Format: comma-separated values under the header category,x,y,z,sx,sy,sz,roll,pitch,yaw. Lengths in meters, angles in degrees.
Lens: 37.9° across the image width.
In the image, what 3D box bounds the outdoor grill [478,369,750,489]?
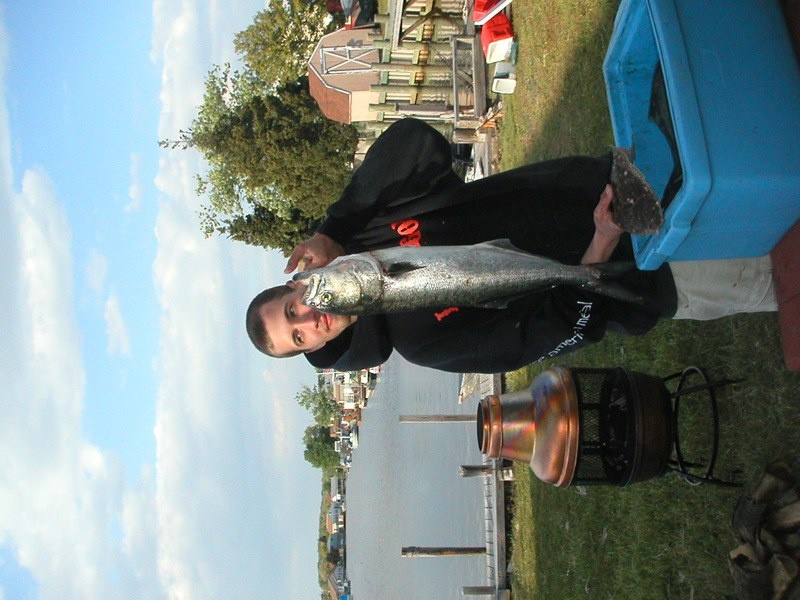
category,x,y,z,sx,sy,sz,roll,pitch,yaw
outdoor grill,3.065,1.819,16.775,3.038,1.755,1.842,0,0,-21

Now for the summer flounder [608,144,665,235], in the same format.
category,x,y,z,sx,sy,sz,roll,pitch,yaw
summer flounder,2.987,-1.435,14.935,0.685,1.107,0.263,-13,6,44
